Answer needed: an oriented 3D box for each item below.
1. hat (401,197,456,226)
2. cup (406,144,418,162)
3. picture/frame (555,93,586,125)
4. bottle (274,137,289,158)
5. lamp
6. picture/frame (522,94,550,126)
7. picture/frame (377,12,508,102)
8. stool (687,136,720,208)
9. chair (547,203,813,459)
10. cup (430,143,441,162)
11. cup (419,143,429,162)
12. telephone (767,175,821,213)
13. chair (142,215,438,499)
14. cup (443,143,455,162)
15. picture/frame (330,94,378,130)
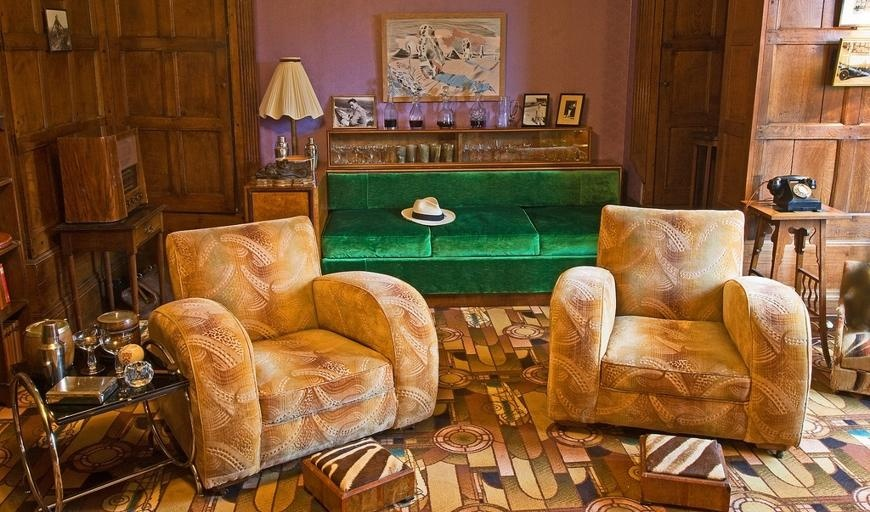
[{"bbox_3d":[-0.080,-0.395,5.371,0.394,0.118,0.350,10,17,37],"label":"hat"},{"bbox_3d":[-0.238,-1.041,5.867,0.084,0.166,0.106,8,17,29],"label":"cup"},{"bbox_3d":[1.384,-1.503,5.951,0.273,0.325,0.028,13,11,35],"label":"picture/frame"},{"bbox_3d":[-1.379,-0.975,5.155,0.099,0.181,0.228,-5,15,-17],"label":"bottle"},{"bbox_3d":[-1.398,-1.362,5.744,0.702,1.123,0.561,13,29,16],"label":"lamp"},{"bbox_3d":[1.036,-1.519,5.978,0.392,0.420,0.061,2,0,0],"label":"picture/frame"},{"bbox_3d":[0.042,-2.084,5.921,1.088,0.630,0.019,0,16,-1],"label":"picture/frame"},{"bbox_3d":[2.791,-0.880,6.039,0.236,0.793,0.393,6,17,21],"label":"stool"},{"bbox_3d":[1.553,0.395,3.813,1.547,1.168,1.167,3,21,24],"label":"chair"},{"bbox_3d":[0.008,-1.043,5.847,0.102,0.174,0.091,-15,21,-43],"label":"cup"},{"bbox_3d":[-0.114,-1.044,5.857,0.107,0.174,0.139,-4,15,-14],"label":"cup"},{"bbox_3d":[2.776,-0.510,4.529,0.353,0.203,0.319,-1,13,-1],"label":"telephone"},{"bbox_3d":[-1.054,0.476,3.778,1.629,1.117,1.698,18,19,38],"label":"chair"},{"bbox_3d":[0.133,-1.051,5.868,0.122,0.171,0.063,-4,16,-12],"label":"cup"},{"bbox_3d":[-0.831,-1.474,5.899,0.487,0.305,0.036,0,4,-3],"label":"picture/frame"}]
